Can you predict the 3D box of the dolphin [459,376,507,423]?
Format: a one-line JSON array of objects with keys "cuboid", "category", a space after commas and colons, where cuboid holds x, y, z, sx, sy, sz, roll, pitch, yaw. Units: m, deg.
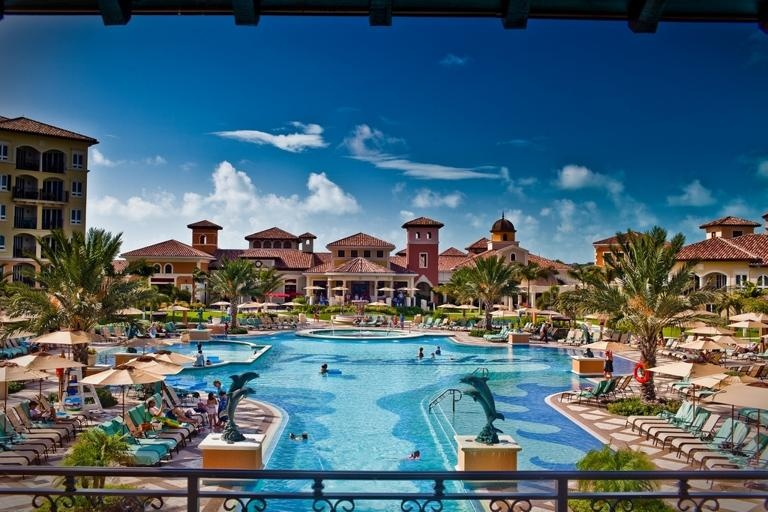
[{"cuboid": [2.940, 4.171, 19.849, 0.813, 0.764, 1.809, -1, 7, -24], "category": "dolphin"}]
